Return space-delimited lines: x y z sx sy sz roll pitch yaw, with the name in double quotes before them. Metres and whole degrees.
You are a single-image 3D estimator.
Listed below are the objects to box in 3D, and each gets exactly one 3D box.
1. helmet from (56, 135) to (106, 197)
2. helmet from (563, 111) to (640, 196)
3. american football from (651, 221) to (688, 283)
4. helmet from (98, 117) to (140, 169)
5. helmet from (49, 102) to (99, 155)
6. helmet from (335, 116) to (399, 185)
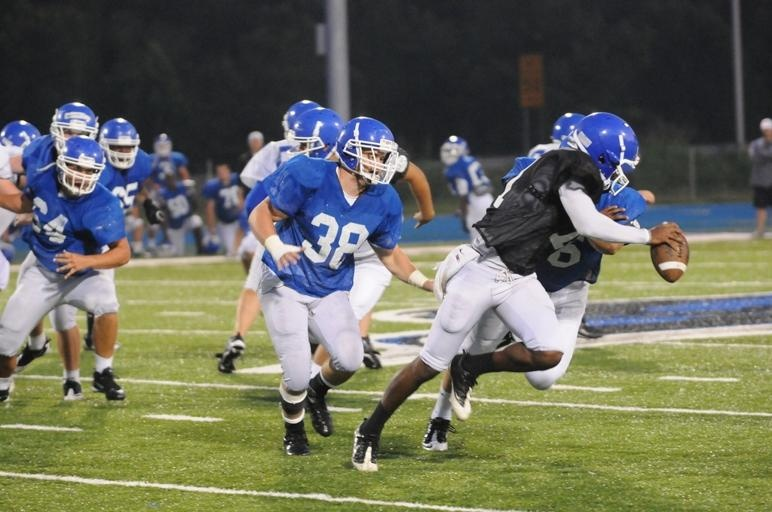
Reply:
"helmet" -2.079 -0.598 7.135 0.313 0.391 0.388 5 17 -26
"helmet" 1.335 -0.652 6.583 0.536 0.486 0.407 -8 18 -3
"american football" 1.758 -0.013 6.656 0.234 0.360 0.225 -6 -12 17
"helmet" -2.087 -0.899 8.217 0.307 0.354 0.378 -7 42 -34
"helmet" -2.350 -0.915 7.977 0.364 0.349 0.421 6 28 -32
"helmet" -0.117 -0.640 6.491 0.409 0.337 0.335 26 19 37
